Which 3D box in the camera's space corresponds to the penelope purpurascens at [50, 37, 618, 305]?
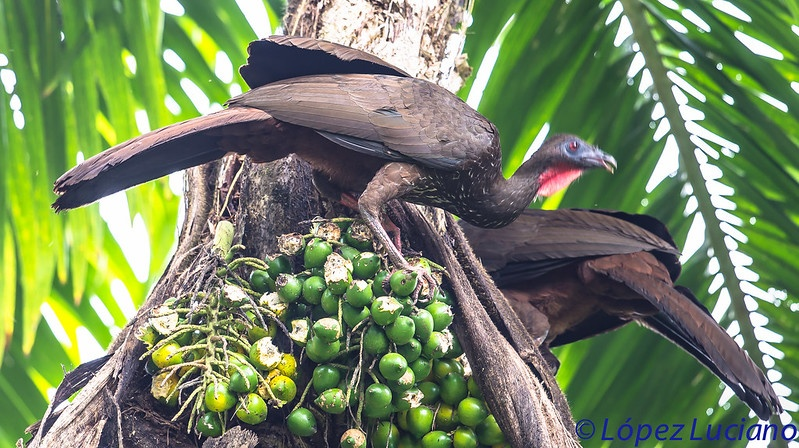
[{"bbox_3d":[0.078,-0.442,7.264,4.330,1.714,1.210,11,-2,-3],"label":"penelope purpurascens"}]
